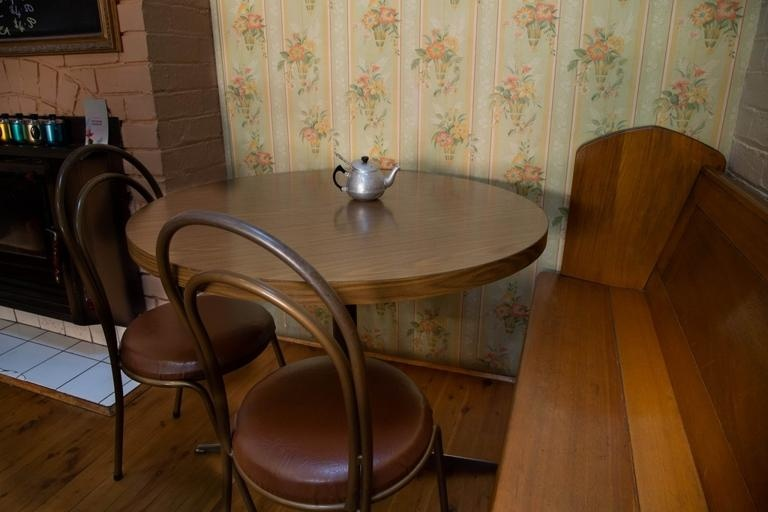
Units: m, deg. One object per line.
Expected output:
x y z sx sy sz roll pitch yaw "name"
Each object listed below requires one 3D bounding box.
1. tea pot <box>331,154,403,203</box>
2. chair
-0.074 -0.290 2.199 0.276 0.196 0.199 -3 27 -6 "tea pot"
-0.543 0.274 2.047 1.123 1.203 0.689 24 37 26 "chair"
